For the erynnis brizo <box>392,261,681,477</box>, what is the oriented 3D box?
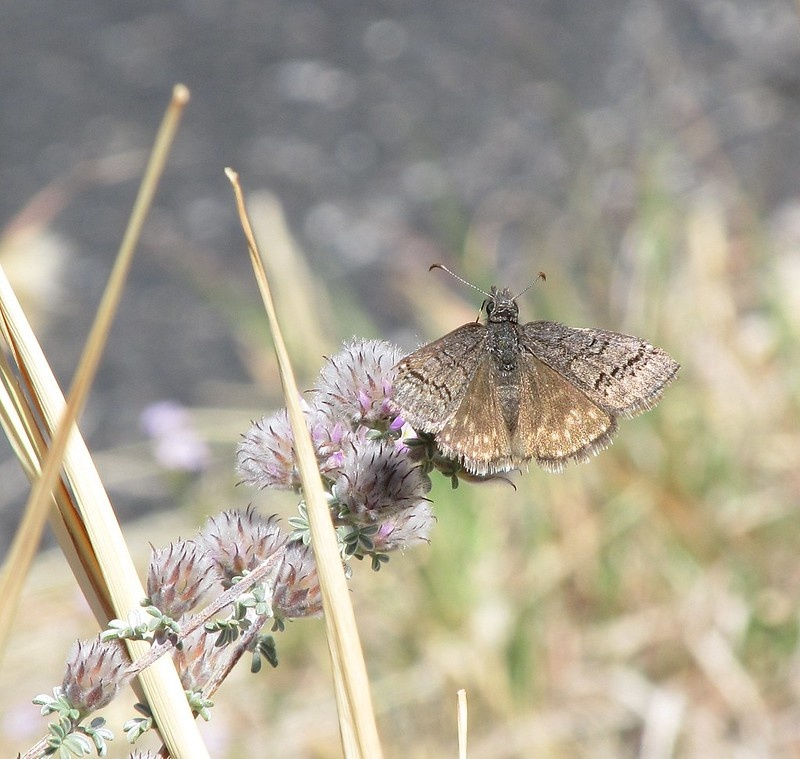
[{"bbox_3d":[0.170,-0.008,2.014,0.541,0.335,0.295,-14,-8,-27],"label":"erynnis brizo"}]
